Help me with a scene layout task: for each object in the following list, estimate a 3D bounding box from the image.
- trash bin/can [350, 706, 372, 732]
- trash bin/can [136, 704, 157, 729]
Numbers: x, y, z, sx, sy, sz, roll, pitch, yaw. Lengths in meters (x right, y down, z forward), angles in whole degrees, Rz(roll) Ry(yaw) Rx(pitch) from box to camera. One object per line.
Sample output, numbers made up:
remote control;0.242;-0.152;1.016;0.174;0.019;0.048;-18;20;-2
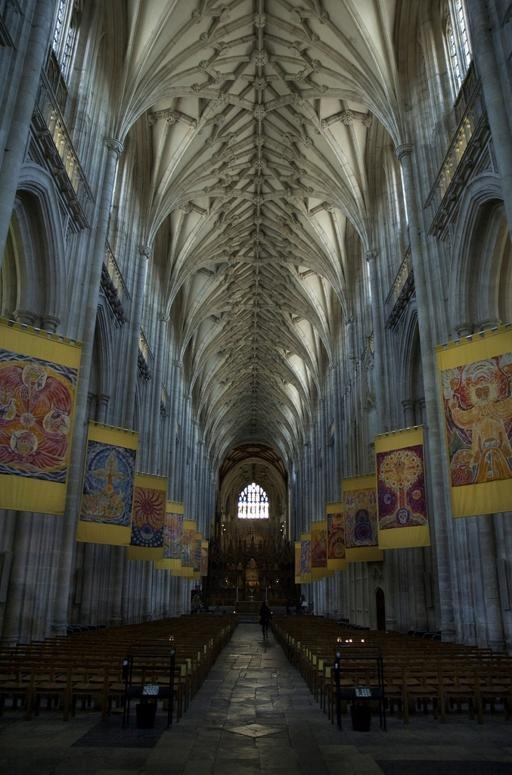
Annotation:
trash bin/can;0.951;2.945;4.221;0.173;0.229;0.207;-1;-17;4
trash bin/can;-0.984;2.923;4.235;0.186;0.276;0.211;1;-23;-5
